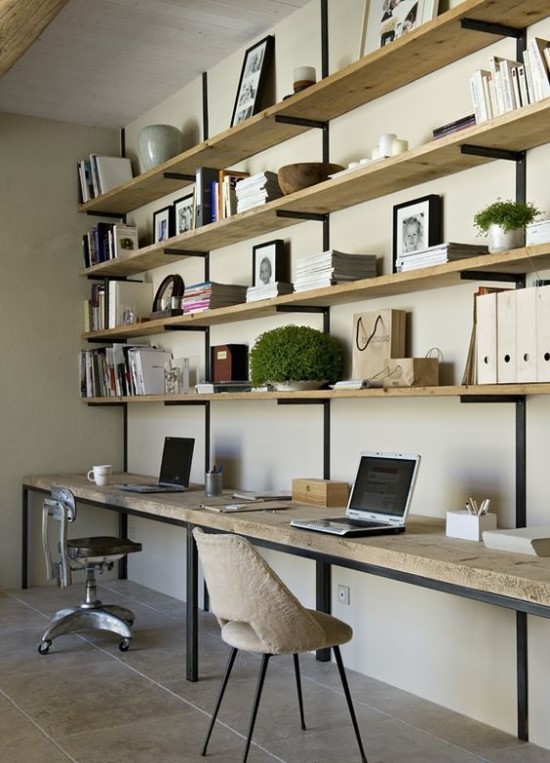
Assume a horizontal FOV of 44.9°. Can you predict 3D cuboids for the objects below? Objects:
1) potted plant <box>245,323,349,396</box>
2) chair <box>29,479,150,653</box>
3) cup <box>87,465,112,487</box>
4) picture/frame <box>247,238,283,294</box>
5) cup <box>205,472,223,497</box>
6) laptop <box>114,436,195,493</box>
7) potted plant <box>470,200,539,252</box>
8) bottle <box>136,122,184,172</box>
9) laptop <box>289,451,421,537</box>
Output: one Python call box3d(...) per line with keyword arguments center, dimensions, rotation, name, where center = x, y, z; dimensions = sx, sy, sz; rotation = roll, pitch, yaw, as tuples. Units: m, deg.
box3d(center=(0.033, -0.089, 2.836), dimensions=(0.435, 0.235, 0.345), rotation=(-1, -5, -11), name="potted plant")
box3d(center=(-0.940, 0.947, 3.391), dimensions=(0.558, 0.698, 0.511), rotation=(5, -9, -36), name="chair")
box3d(center=(-1.002, 0.538, 3.882), dimensions=(0.141, 0.144, 0.206), rotation=(2, -6, -27), name="cup")
box3d(center=(-0.040, -0.568, 3.317), dimensions=(0.037, 0.242, 0.253), rotation=(-2, 6, -31), name="picture/frame")
box3d(center=(-0.285, 0.476, 3.072), dimensions=(0.101, 0.104, 0.095), rotation=(0, -4, 0), name="cup")
box3d(center=(-0.656, 0.431, 3.471), dimensions=(0.332, 0.290, 0.389), rotation=(-1, -3, -29), name="laptop")
box3d(center=(0.653, -0.442, 1.882), dimensions=(0.160, 0.134, 0.158), rotation=(-6, 7, -32), name="potted plant")
box3d(center=(-0.715, -1.441, 4.158), dimensions=(0.280, 0.277, 0.254), rotation=(-3, 2, 39), name="bottle")
box3d(center=(0.232, 0.338, 1.996), dimensions=(0.311, 0.227, 0.327), rotation=(-2, -4, -22), name="laptop")
